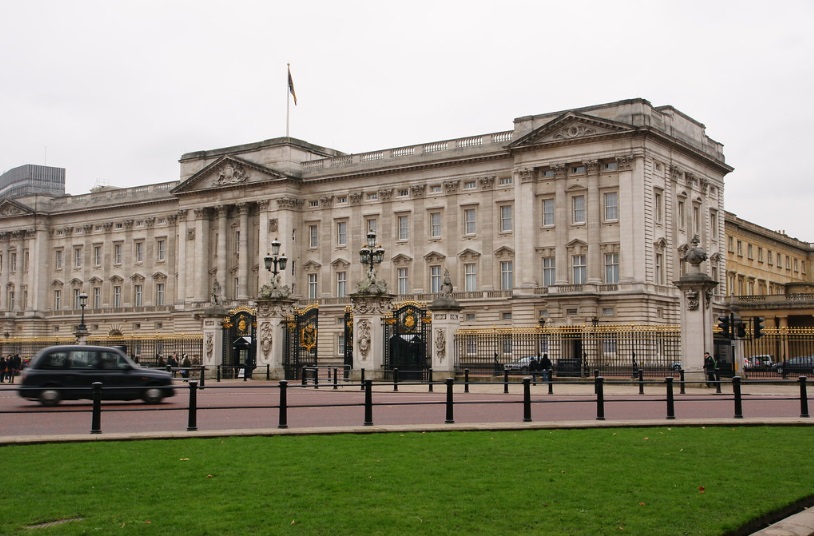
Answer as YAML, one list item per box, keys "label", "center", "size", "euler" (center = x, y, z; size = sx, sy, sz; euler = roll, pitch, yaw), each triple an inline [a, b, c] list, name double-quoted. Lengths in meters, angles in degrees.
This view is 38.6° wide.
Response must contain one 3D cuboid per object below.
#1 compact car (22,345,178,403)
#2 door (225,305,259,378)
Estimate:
- label: "compact car"
  center: [-10.415, 3.636, 38.759]
  size: [4.613, 2.055, 6.965]
  euler: [0, 2, -4]
- label: "door"
  center: [-8.105, 3.544, 57.025]
  size: [1.237, 3.399, 2.674]
  euler: [-1, 2, -30]
